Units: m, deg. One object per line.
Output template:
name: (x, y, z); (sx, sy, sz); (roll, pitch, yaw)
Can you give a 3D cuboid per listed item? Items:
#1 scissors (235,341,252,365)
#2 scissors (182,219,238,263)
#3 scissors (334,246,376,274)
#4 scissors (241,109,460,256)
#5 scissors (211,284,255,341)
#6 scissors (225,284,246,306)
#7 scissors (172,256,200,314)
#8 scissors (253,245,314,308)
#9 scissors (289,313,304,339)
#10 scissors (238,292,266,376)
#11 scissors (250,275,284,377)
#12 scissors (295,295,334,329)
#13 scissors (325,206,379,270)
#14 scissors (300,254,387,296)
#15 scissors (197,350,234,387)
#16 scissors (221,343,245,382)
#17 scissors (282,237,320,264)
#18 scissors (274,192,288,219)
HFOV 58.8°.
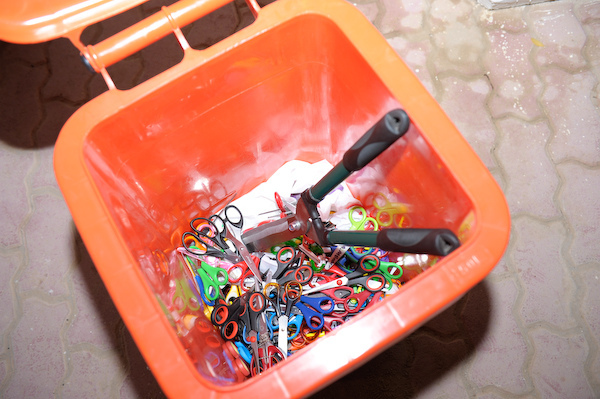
scissors: (-0.127, 0.339, 1.187); (0.029, 0.040, 0.042); (-36, 61, 4)
scissors: (-0.212, 0.107, 1.266); (0.125, 0.034, 0.085); (34, 66, -10)
scissors: (0.161, 0.149, 1.255); (0.115, 0.113, 0.031); (-24, 75, 48)
scissors: (0.093, -0.019, 1.156); (0.471, 0.272, 0.266); (5, 77, 5)
scissors: (-0.159, 0.255, 1.203); (0.059, 0.020, 0.116); (31, 76, 8)
scissors: (-0.157, 0.222, 1.239); (0.030, 0.012, 0.047); (3, 62, 16)
scissors: (-0.271, 0.188, 1.197); (0.008, 0.066, 0.155); (-54, 45, 28)
scissors: (-0.040, 0.181, 1.251); (0.153, 0.016, 0.095); (-47, 63, 3)
scissors: (-0.008, 0.287, 1.205); (0.022, 0.008, 0.062); (23, 86, 14)
scissors: (-0.104, 0.292, 1.158); (0.057, 0.007, 0.159); (-8, 65, 1)
scissors: (-0.083, 0.285, 1.156); (0.055, 0.017, 0.178); (-17, 60, 13)
scissors: (0.033, 0.255, 1.211); (0.088, 0.024, 0.073); (2, 79, 4)
scissors: (0.115, 0.069, 1.243); (0.076, 0.008, 0.188); (31, 67, 20)
scissors: (0.115, 0.179, 1.199); (0.164, 0.013, 0.099); (-21, 65, 5)
scissors: (-0.178, 0.353, 1.090); (0.045, 0.016, 0.070); (-31, 84, 33)
scissors: (-0.139, 0.353, 1.164); (0.013, 0.056, 0.059); (-24, 65, 1)
scissors: (0.006, 0.116, 1.265); (0.050, 0.024, 0.078); (-31, 66, -32)
scissors: (-0.048, 0.014, 1.289); (0.017, 0.022, 0.082); (-24, 58, 16)
